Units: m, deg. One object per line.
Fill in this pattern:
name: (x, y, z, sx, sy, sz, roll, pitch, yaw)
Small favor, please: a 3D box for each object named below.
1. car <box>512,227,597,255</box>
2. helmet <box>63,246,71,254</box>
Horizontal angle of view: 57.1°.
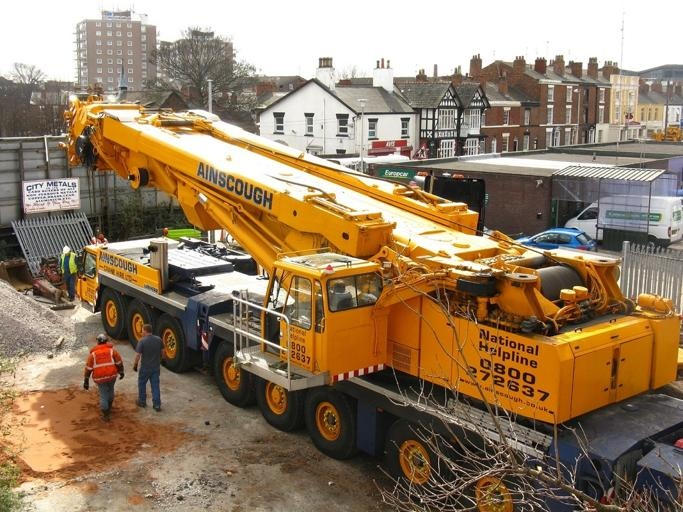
car: (7.472, -0.579, 21.494, 1.674, 0.771, 1.000, 10, 15, 26)
helmet: (-8.629, -0.210, 19.777, 0.250, 0.195, 0.364, -1, 6, -5)
